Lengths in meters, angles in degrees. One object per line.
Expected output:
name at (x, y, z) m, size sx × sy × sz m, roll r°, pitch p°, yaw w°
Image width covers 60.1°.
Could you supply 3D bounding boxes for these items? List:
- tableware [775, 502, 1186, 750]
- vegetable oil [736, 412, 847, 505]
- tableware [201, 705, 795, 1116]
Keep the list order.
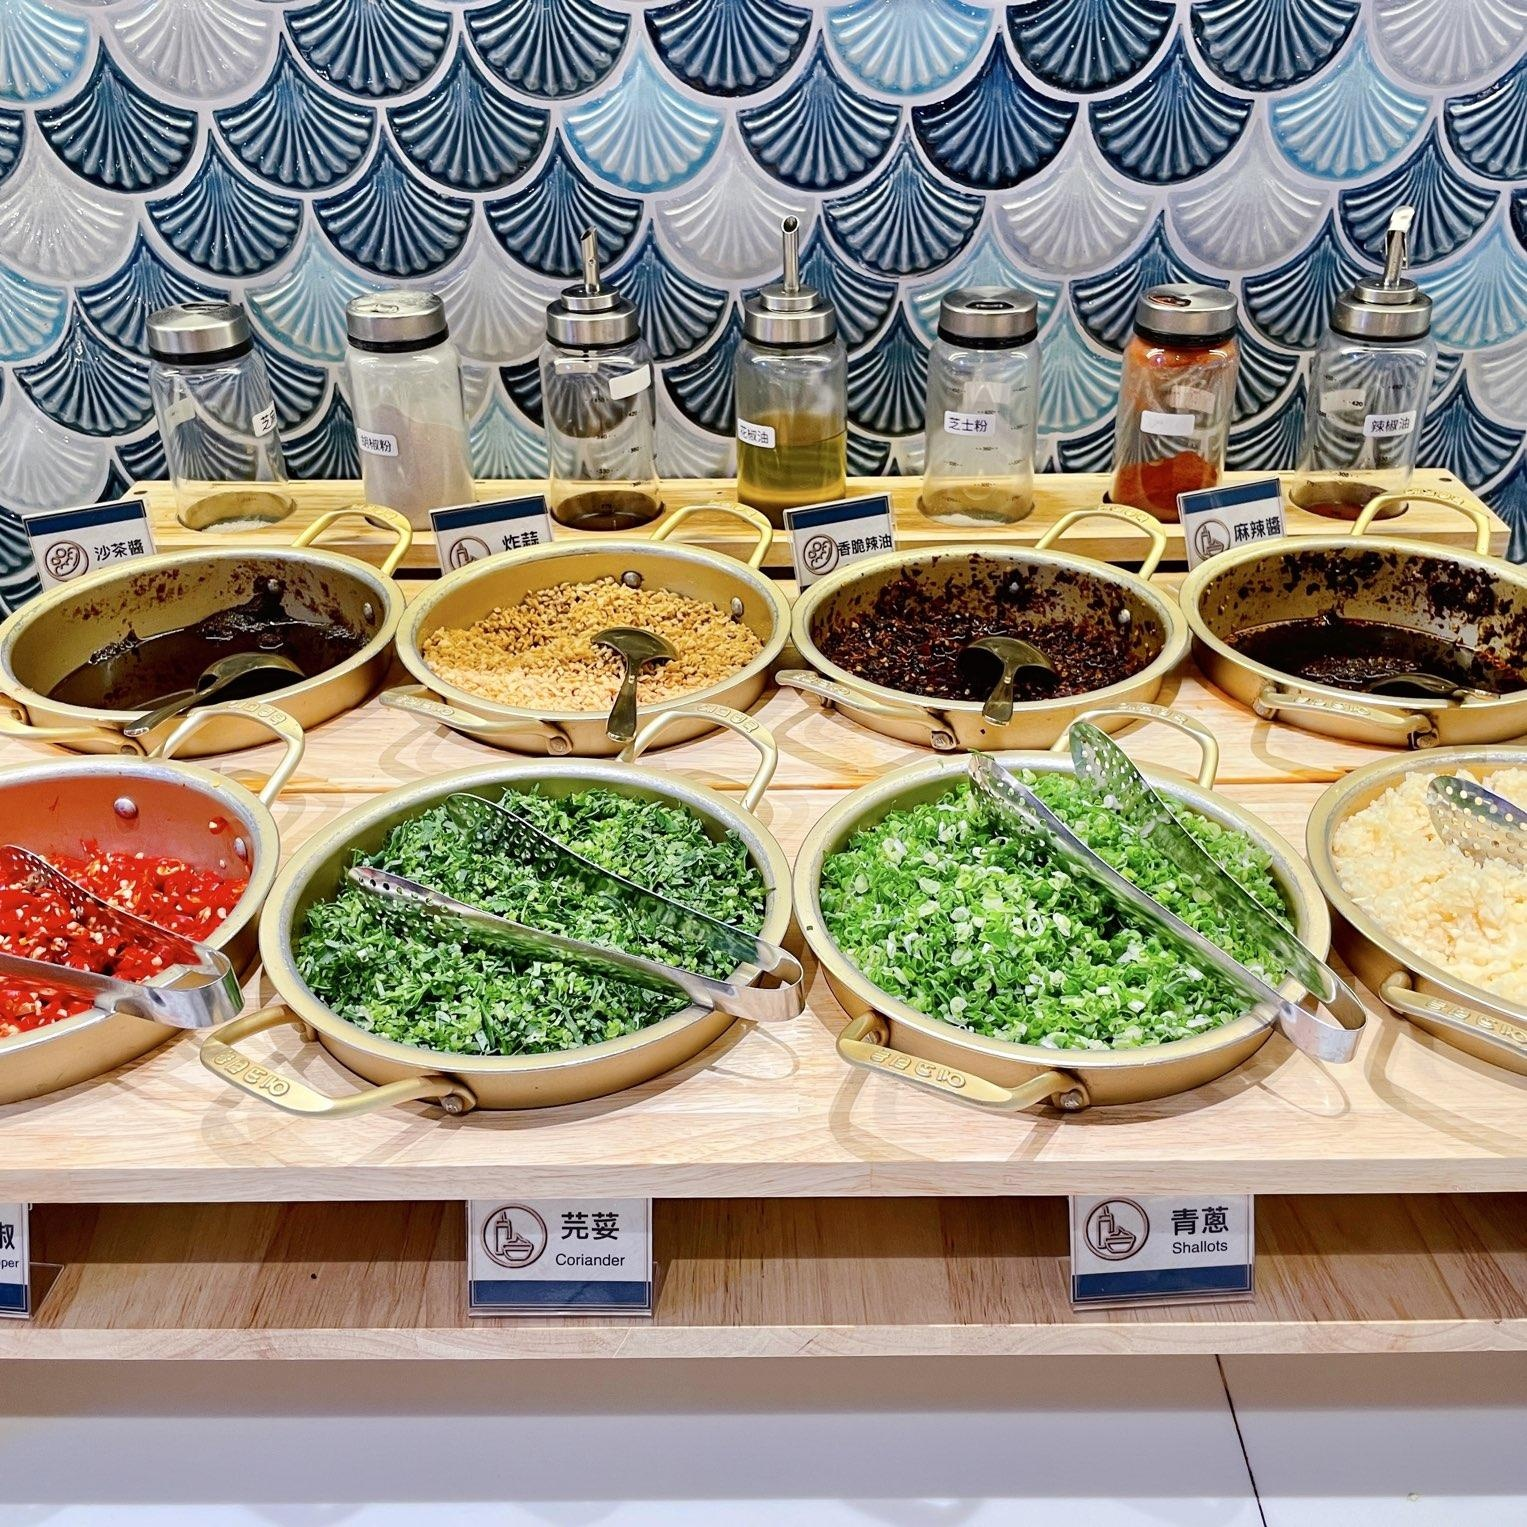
tableware at (0.255, -0.158, 1.602) m, size 0.450 × 0.164 × 0.356 m, roll -3°, pitch 27°, yaw -6°
vegetable oil at (0.028, -0.423, 1.841) m, size 0.143 × 0.140 × 0.136 m, roll -3°, pitch 28°, yaw -4°
tableware at (-0.200, 0.153, 1.137) m, size 0.451 × 0.126 × 0.463 m, roll -3°, pitch 26°, yaw -3°
